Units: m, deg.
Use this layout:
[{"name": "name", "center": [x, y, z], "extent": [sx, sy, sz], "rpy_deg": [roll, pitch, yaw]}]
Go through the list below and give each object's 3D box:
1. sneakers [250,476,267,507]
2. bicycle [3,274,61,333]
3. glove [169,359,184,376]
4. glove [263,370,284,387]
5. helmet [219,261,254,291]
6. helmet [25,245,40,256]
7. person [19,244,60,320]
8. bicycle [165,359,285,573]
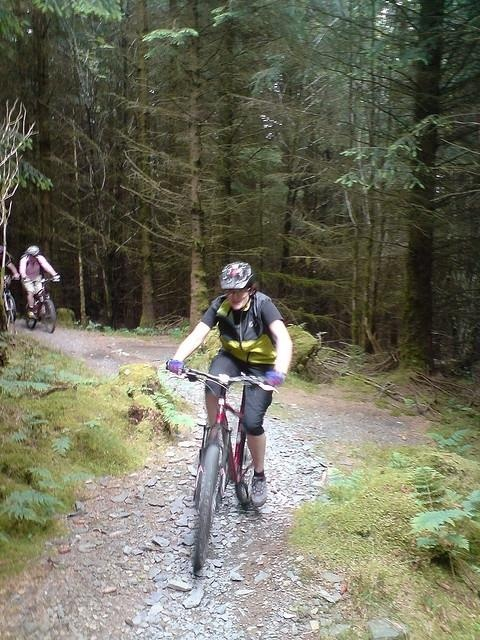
[{"name": "sneakers", "center": [0.155, 1.445, 4.718], "extent": [0.107, 0.291, 0.116], "rpy_deg": [-2, -6, 5]}, {"name": "bicycle", "center": [-4.850, -0.382, 13.057], "extent": [2.193, 1.334, 1.084], "rpy_deg": [12, 13, 42]}, {"name": "glove", "center": [-0.480, 0.347, 4.149], "extent": [0.121, 0.099, 0.145], "rpy_deg": [0, 9, -5]}, {"name": "glove", "center": [0.241, 0.412, 3.946], "extent": [0.102, 0.067, 0.120], "rpy_deg": [3, 6, 14]}, {"name": "helmet", "center": [-0.026, -0.330, 4.316], "extent": [0.241, 0.218, 0.265], "rpy_deg": [1, 9, 1]}, {"name": "helmet", "center": [-4.669, -1.532, 12.430], "extent": [0.309, 0.246, 0.232], "rpy_deg": [-10, 16, 15]}, {"name": "person", "center": [-4.527, -0.801, 12.466], "extent": [0.725, 1.677, 0.960], "rpy_deg": [-3, 10, -20]}, {"name": "bicycle", "center": [-0.114, 1.022, 4.236], "extent": [0.699, 1.372, 1.191], "rpy_deg": [1, 9, 2]}]
